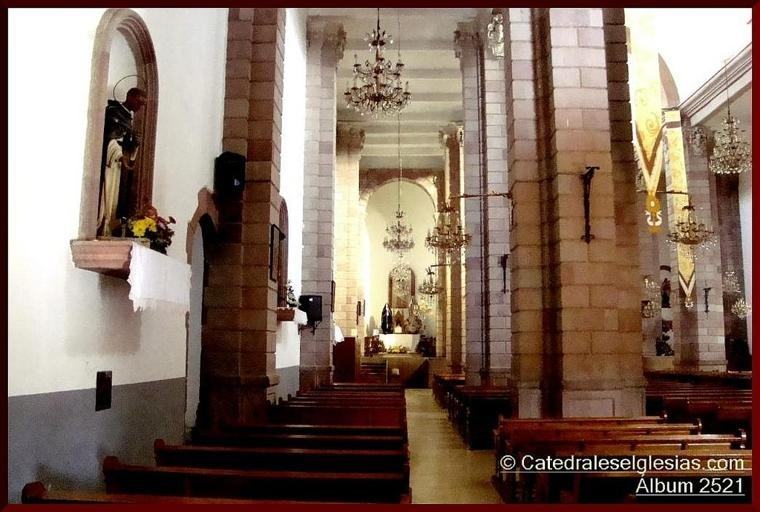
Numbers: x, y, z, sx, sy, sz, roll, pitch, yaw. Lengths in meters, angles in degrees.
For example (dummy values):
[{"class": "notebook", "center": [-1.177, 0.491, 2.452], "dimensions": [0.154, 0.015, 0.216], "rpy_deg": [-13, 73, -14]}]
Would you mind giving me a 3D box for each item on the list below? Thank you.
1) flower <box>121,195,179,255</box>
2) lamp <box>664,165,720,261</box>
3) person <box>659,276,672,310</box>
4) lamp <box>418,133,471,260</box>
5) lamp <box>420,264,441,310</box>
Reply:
[{"class": "flower", "center": [-2.894, -0.338, 9.381], "dimensions": [0.601, 0.564, 0.482], "rpy_deg": [4, -10, -28]}, {"class": "lamp", "center": [8.728, -0.821, 21.194], "dimensions": [1.770, 1.814, 1.742], "rpy_deg": [-1, -8, 17]}, {"class": "person", "center": [11.829, 1.533, 31.165], "dimensions": [0.341, 1.173, 1.228], "rpy_deg": [-4, -10, 22]}, {"class": "lamp", "center": [2.484, -1.934, 26.265], "dimensions": [1.902, 4.886, 1.843], "rpy_deg": [8, 12, 31]}, {"class": "lamp", "center": [1.948, 1.142, 29.004], "dimensions": [1.060, 1.410, 1.012], "rpy_deg": [-2, 4, -18]}]
